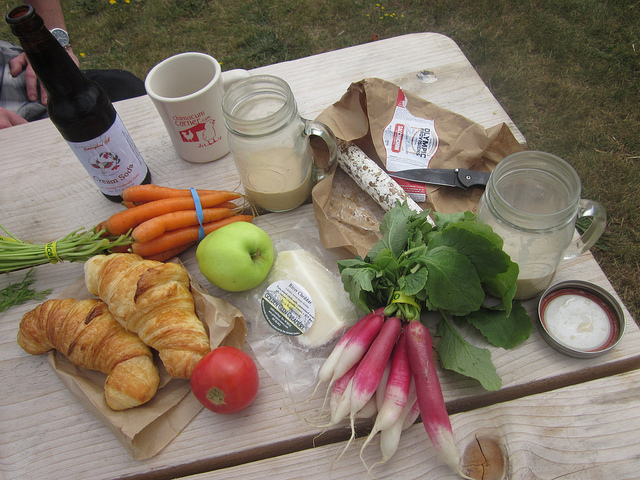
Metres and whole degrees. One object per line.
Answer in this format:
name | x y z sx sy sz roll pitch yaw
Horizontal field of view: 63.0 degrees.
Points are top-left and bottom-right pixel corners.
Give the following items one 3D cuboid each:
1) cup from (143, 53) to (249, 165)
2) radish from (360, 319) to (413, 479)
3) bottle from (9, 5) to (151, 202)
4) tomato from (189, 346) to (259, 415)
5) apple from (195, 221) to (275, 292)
cup | -0.430 -0.428 1.830 0.274 0.397 0.272 1 37 -1
radish | 0.202 0.391 1.386 0.074 0.095 0.314 17 63 12
bottle | -0.699 -0.378 1.522 0.162 0.526 0.243 -34 64 -16
tomato | -0.261 0.382 1.522 0.172 0.176 0.179 13 56 17
apple | -0.259 0.021 1.684 0.261 0.194 0.302 -9 33 -13
